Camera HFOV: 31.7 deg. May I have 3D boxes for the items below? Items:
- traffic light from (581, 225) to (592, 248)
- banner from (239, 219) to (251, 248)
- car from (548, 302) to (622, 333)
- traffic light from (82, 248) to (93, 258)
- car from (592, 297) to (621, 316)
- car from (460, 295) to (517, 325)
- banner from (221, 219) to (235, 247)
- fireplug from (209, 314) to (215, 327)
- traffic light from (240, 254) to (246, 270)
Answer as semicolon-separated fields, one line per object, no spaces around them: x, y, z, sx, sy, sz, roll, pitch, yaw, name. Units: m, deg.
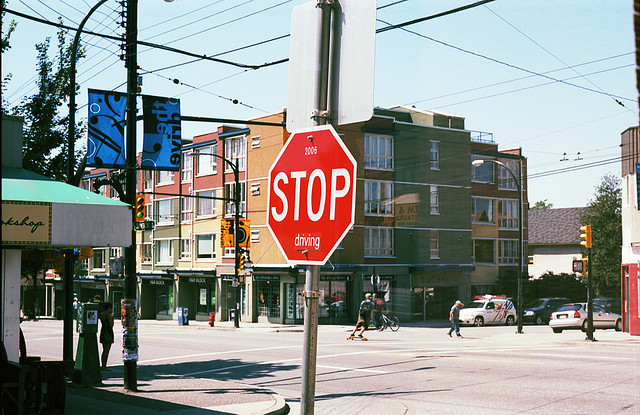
14.073;1.556;59.591;0.501;1.229;0.816;-2;-9;10;traffic light
-4.836;1.723;72.804;0.384;1.456;1.598;4;0;7;banner
16.098;6.666;67.694;4.118;1.333;1.845;-2;-1;-27;car
-10.660;2.073;51.646;0.502;0.486;0.367;1;3;-15;traffic light
18.168;6.249;70.854;2.197;1.018;0.988;2;-3;-41;car
11.317;6.916;75.524;4.078;1.986;1.216;7;-12;-37;car
-6.089;1.622;74.717;0.754;1.915;1.352;7;-12;-39;banner
-7.137;7.512;74.855;0.286;0.775;1.041;1;-10;-7;fireplug
-5.037;3.597;74.219;0.370;1.095;1.074;0;0;-11;traffic light
